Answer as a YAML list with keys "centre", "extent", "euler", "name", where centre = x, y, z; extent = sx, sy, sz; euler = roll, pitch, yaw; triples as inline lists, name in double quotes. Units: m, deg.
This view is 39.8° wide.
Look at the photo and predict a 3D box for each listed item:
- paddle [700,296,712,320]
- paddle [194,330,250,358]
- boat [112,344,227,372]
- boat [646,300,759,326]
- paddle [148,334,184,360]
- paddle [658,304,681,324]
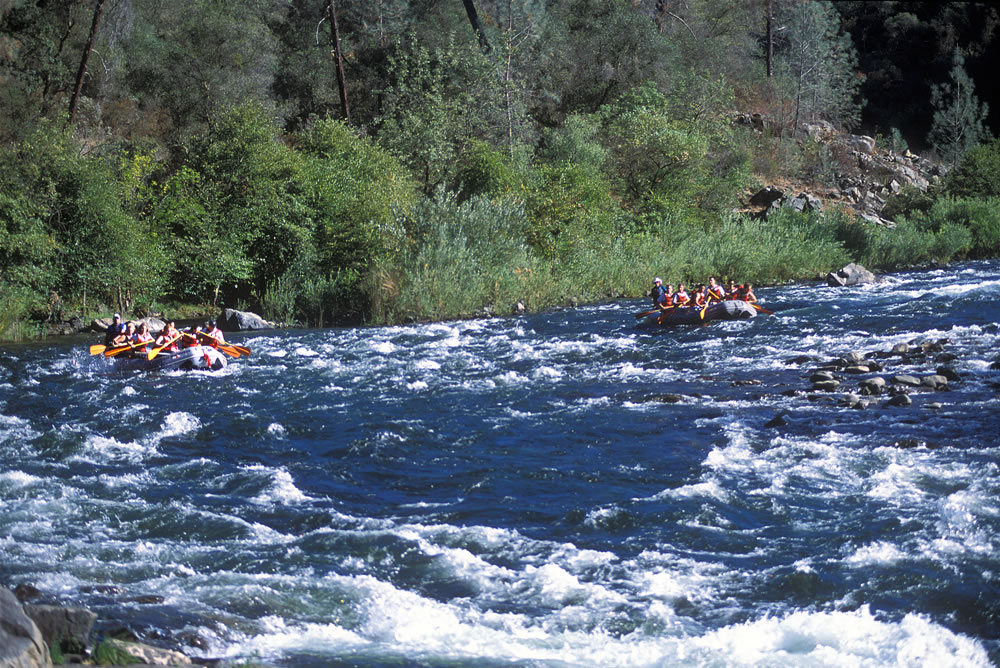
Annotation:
- centre: [8.599, -1.000, 58.339]
  extent: [0.217, 0.207, 1.813]
  euler: [5, 43, 22]
  name: "paddle"
- centre: [-11.271, 0.582, 55.924]
  extent: [0.283, 0.926, 2.668]
  euler: [-11, -22, 35]
  name: "paddle"
- centre: [-12.988, 1.074, 54.631]
  extent: [2.804, 0.875, 1.734]
  euler: [-2, -1, 7]
  name: "boat"
- centre: [8.425, -0.804, 58.319]
  extent: [2.881, 0.620, 1.844]
  euler: [-6, -2, -2]
  name: "boat"
- centre: [-13.573, 0.570, 54.785]
  extent: [0.376, 0.144, 2.478]
  euler: [32, 19, 4]
  name: "paddle"
- centre: [7.032, -0.787, 58.406]
  extent: [0.717, 0.592, 0.751]
  euler: [-2, 2, -10]
  name: "paddle"
